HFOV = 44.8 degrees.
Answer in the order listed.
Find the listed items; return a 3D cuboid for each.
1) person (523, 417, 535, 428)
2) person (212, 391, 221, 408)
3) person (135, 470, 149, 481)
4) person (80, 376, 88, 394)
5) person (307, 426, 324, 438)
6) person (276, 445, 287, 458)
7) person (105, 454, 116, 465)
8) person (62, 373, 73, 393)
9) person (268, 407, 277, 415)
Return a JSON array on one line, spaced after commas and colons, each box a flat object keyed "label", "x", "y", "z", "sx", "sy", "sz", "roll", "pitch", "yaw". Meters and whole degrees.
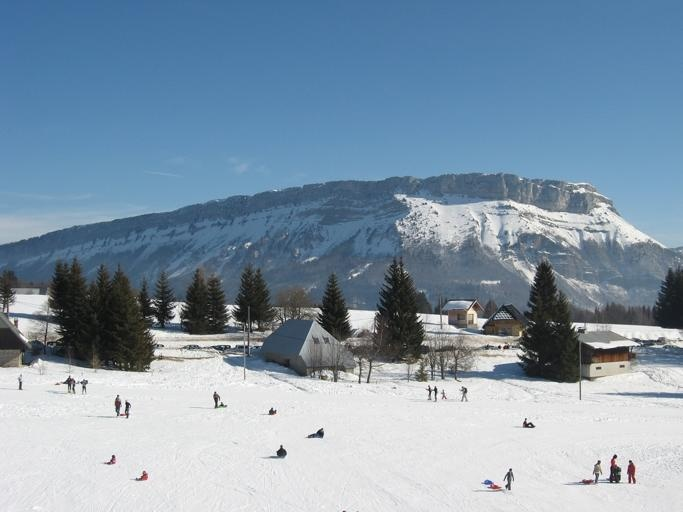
[{"label": "person", "x": 21.546, "y": 19.218, "z": 95.399, "sx": 1.398, "sy": 1.546, "sz": 0.753, "roll": 1, "pitch": -3, "yaw": -5}, {"label": "person", "x": -14.918, "y": 17.136, "z": 99.345, "sx": 0.883, "sy": 1.616, "sz": 2.803, "roll": 1, "pitch": -2, "yaw": -9}, {"label": "person", "x": -18.701, "y": 20.498, "z": 77.887, "sx": 1.137, "sy": 0.835, "sz": 0.875, "roll": 1, "pitch": -2, "yaw": -8}, {"label": "person", "x": -32.069, "y": 16.078, "z": 103.026, "sx": 1.198, "sy": 2.100, "sz": 0.655, "roll": 6, "pitch": -24, "yaw": -23}, {"label": "person", "x": -2.605, "y": 18.776, "z": 88.366, "sx": 0.896, "sy": 0.590, "sz": 1.211, "roll": 8, "pitch": 4, "yaw": 40}, {"label": "person", "x": -5.852, "y": 19.674, "z": 83.319, "sx": 0.812, "sy": 1.560, "sz": 1.387, "roll": -3, "pitch": -4, "yaw": 40}, {"label": "person", "x": -22.416, "y": 19.612, "z": 80.383, "sx": 0.967, "sy": 0.781, "sz": 1.393, "roll": 1, "pitch": -2, "yaw": -19}, {"label": "person", "x": -34.367, "y": 15.891, "z": 103.773, "sx": 1.236, "sy": 2.092, "sz": 0.630, "roll": 3, "pitch": -18, "yaw": -28}, {"label": "person", "x": -8.049, "y": 18.007, "z": 96.330, "sx": 0.584, "sy": 0.605, "sz": 0.861, "roll": 3, "pitch": 15, "yaw": 6}]
